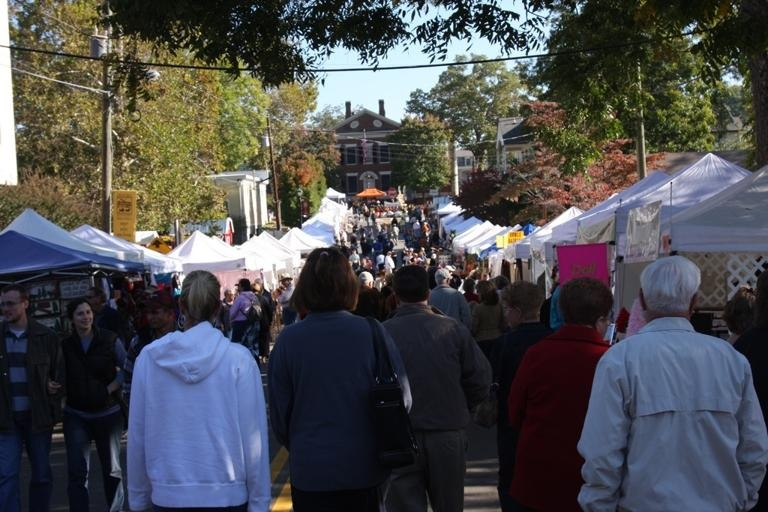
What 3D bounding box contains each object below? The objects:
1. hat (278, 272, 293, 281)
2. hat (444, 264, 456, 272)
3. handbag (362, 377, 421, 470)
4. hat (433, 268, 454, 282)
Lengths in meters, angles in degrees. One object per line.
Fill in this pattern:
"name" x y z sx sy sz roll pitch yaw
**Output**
"hat" -2.777 0.559 27.256 0.441 0.187 0.533 -3 -12 -18
"hat" 2.048 0.411 29.513 0.319 0.171 0.495 3 0 6
"handbag" 0.078 1.531 8.786 0.373 0.762 0.259 -9 -7 3
"hat" 1.003 0.380 16.890 0.248 0.161 0.413 0 5 10
